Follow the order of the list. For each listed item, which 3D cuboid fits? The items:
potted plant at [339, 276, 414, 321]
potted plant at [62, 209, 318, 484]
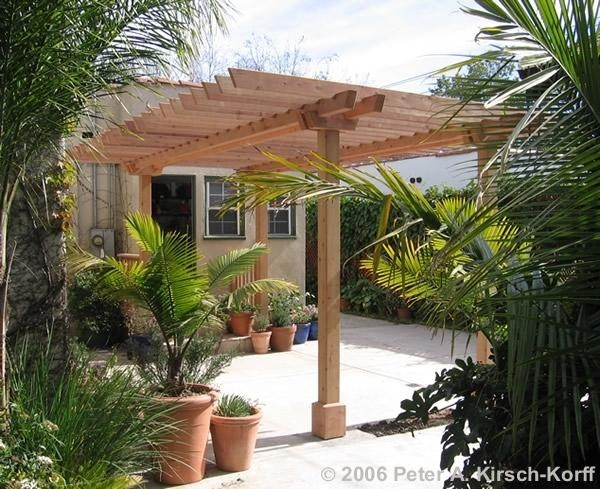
[{"bbox_3d":[1.571,1.239,12.800,1.697,0.733,1.661,4,7,-32],"label":"potted plant"},{"bbox_3d":[-0.885,0.749,4.809,1.426,2.080,1.313,0,1,-42],"label":"potted plant"}]
